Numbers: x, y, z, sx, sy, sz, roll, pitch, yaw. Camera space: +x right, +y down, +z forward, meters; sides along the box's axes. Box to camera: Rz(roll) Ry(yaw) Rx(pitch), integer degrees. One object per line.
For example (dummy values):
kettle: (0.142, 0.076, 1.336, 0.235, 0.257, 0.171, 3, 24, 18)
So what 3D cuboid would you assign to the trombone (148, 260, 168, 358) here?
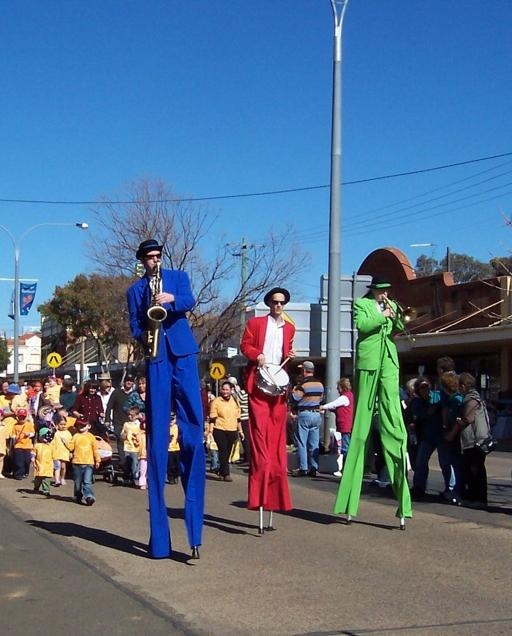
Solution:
trombone: (-0.738, -0.075, 6.944, 0.146, 0.692, 0.180, 4, -3, -29)

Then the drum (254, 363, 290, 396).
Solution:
drum: (0.181, 0.573, 8.494, 0.351, 0.292, 0.196, 3, -8, -35)

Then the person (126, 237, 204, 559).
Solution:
person: (-0.663, 0.600, 7.038, 0.563, 2.460, 0.707, -1, -7, -7)

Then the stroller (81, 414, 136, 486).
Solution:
stroller: (-2.021, 1.918, 13.220, 0.460, 1.072, 0.531, 1, -2, -31)
